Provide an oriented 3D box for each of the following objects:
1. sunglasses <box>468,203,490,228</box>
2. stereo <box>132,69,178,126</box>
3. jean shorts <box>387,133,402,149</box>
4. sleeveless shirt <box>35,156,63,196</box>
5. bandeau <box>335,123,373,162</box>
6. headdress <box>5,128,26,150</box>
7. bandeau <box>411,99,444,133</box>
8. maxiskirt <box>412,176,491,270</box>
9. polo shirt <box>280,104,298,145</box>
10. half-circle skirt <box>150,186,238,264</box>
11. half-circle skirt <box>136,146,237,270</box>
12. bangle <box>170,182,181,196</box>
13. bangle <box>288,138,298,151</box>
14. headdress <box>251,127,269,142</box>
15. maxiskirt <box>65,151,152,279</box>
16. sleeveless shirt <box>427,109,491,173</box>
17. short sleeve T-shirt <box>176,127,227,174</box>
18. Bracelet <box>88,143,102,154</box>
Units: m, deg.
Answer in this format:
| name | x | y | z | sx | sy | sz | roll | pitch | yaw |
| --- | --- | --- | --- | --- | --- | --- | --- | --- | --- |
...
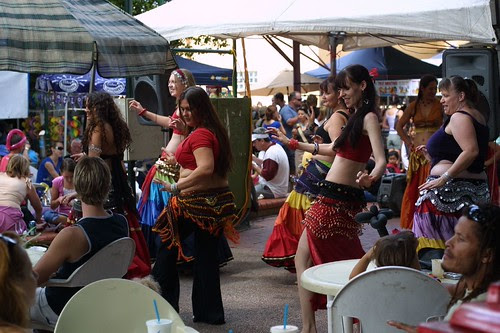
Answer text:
| name | x | y | z | sx | sy | sz | roll | pitch | yaw |
| --- | --- | --- | --- | --- | --- | --- | --- | --- | --- |
| sunglasses | 1.148 | 0.244 | 2.398 | 0.069 | 0.094 | 0.034 | -39 | -18 | -4 |
| stereo | -1.298 | -0.977 | 6.379 | 0.478 | 0.753 | 0.394 | 1 | 14 | 23 |
| jean shorts | 3.911 | -0.697 | 12.968 | 0.353 | 0.484 | 0.816 | 2 | 7 | 16 |
| sleeveless shirt | -3.601 | 0.091 | 8.417 | 0.259 | 0.526 | 0.366 | 14 | 12 | 23 |
| bandeau | 0.921 | -0.172 | 4.173 | 0.240 | 0.286 | 0.260 | 22 | -13 | -5 |
| headdress | -3.452 | -0.358 | 7.074 | 0.289 | 0.406 | 0.130 | 14 | 2 | -1 |
| bandeau | 2.402 | -0.655 | 6.488 | 0.383 | 0.585 | 0.291 | 0 | 3 | 32 |
| maxiskirt | 1.890 | 0.422 | 4.896 | 0.507 | 0.936 | 0.769 | 12 | 21 | 9 |
| polo shirt | 1.004 | -1.111 | 11.376 | 0.470 | 0.941 | 0.622 | 6 | 42 | 20 |
| half-circle skirt | -0.522 | 0.539 | 4.701 | 0.824 | 0.664 | 0.653 | 3 | -8 | -12 |
| half-circle skirt | -0.710 | 0.493 | 6.404 | 1.452 | 1.597 | 1.178 | 0 | -4 | -36 |
| bangle | -0.703 | 0.204 | 4.432 | 0.096 | 0.109 | 0.095 | 0 | -10 | 9 |
| bangle | 0.404 | -0.209 | 4.511 | 0.081 | 0.125 | 0.106 | 3 | 11 | -1 |
| headdress | 0.145 | -0.521 | 7.603 | 0.312 | 0.199 | 0.235 | -2 | 3 | -4 |
| maxiskirt | -1.635 | 0.456 | 5.710 | 1.024 | 1.682 | 1.407 | 0 | -3 | 4 |
| sleeveless shirt | 2.022 | -0.160 | 4.646 | 0.512 | 0.724 | 0.584 | 21 | -16 | -41 |
| short sleeve T-shirt | -0.482 | -0.152 | 4.384 | 0.327 | 0.450 | 0.471 | -1 | -1 | 0 |
| Bracelet | -1.564 | -0.184 | 4.809 | 0.105 | 0.066 | 0.080 | 16 | -12 | -34 |
